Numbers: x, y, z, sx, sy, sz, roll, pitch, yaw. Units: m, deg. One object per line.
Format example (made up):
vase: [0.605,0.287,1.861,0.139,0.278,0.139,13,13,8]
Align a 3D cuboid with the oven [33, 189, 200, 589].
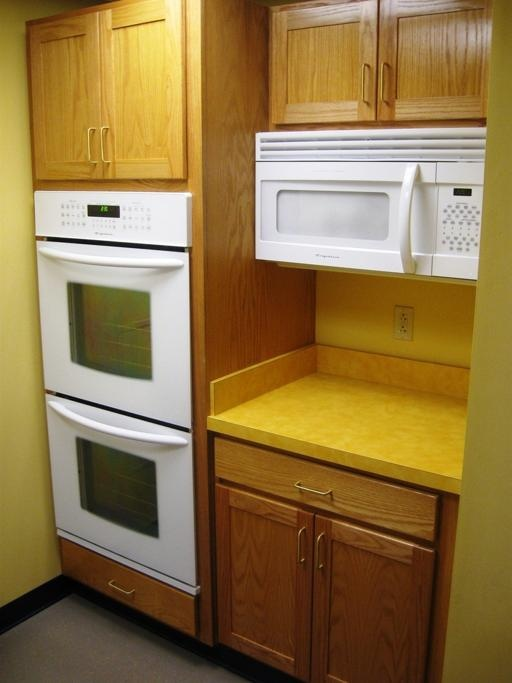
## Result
oven: [-0.409,0.094,2.004,0.513,1.430,0.583,6,19,10]

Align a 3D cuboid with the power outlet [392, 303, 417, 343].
power outlet: [0.496,-0.064,1.865,0.077,0.188,0.014,7,12,42]
